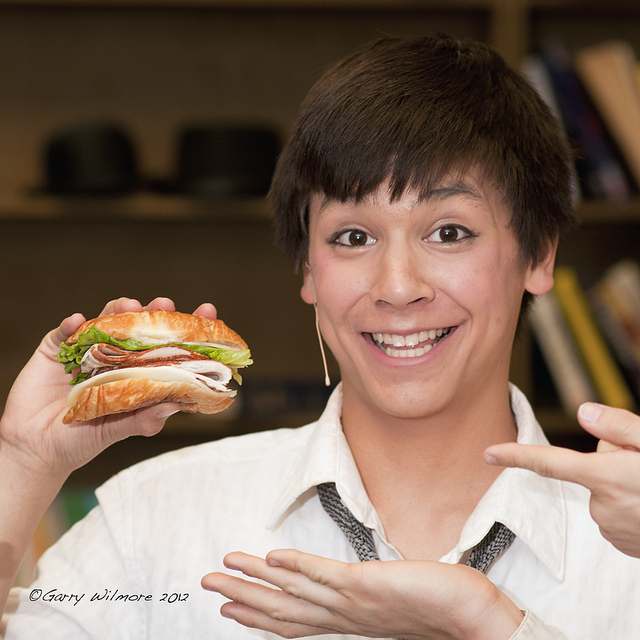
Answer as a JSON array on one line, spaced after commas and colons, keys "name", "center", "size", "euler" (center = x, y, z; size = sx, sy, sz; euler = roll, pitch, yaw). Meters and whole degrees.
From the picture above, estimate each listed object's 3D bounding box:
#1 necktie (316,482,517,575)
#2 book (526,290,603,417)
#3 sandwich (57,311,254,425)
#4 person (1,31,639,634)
[{"name": "necktie", "center": [0.100, 0.293, 1.013], "size": [0.255, 0.111, 0.053], "euler": [3, -26, -2]}, {"name": "book", "center": [0.629, 0.075, 1.857], "size": [0.084, 0.302, 0.305], "euler": [-29, 22, 10]}, {"name": "sandwich", "center": [-0.198, 0.040, 1.131], "size": [0.303, 0.119, 0.225], "euler": [3, 17, 20]}, {"name": "person", "center": [0.016, 0.030, 1.083], "size": [0.880, 0.882, 0.490], "euler": [0, 20, 12]}]
